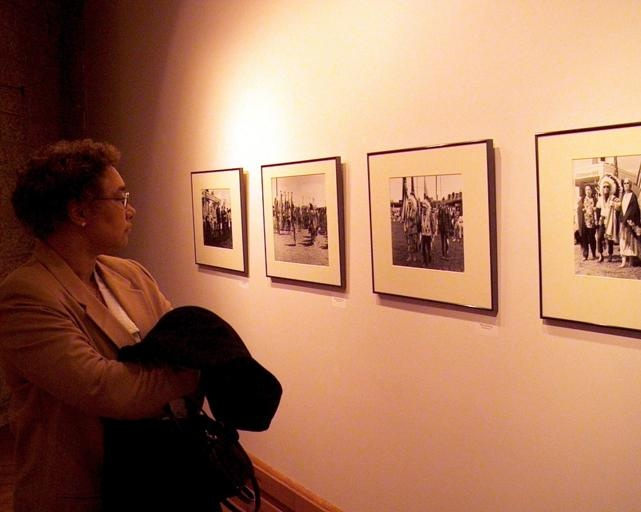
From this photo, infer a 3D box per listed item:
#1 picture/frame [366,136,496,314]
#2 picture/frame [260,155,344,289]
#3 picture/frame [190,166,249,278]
[{"bbox_3d":[0.653,-0.198,2.826,0.840,1.153,0.093,6,11,45],"label":"picture/frame"},{"bbox_3d":[-0.112,-0.257,3.463,0.757,1.128,0.069,5,9,43],"label":"picture/frame"},{"bbox_3d":[-0.825,-0.306,4.116,0.058,0.888,0.746,-6,11,-35],"label":"picture/frame"}]
